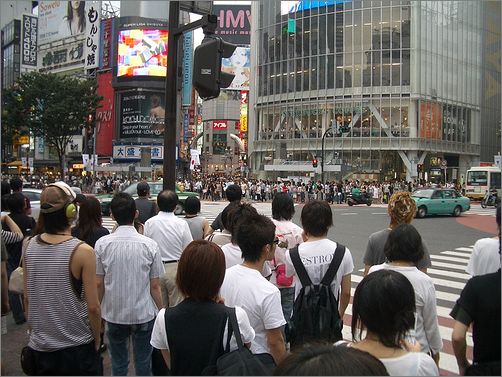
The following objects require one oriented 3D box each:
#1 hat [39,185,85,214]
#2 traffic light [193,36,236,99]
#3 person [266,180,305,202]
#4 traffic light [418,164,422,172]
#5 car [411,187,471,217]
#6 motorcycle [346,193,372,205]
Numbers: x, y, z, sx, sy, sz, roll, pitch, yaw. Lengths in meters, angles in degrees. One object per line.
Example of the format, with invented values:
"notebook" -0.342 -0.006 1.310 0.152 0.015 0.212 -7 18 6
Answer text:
"hat" -1.921 0.101 4.658 0.207 0.196 0.320 8 22 27
"traffic light" -0.559 -1.836 6.896 0.610 0.964 0.664 2 -1 -8
"person" 2.263 0.162 30.092 3.378 1.298 0.948 10 -9 -25
"traffic light" 13.702 -1.637 38.015 0.229 0.550 0.627 1 -2 30
"car" 9.295 0.750 22.955 2.769 1.114 1.246 3 -3 -32
"motorcycle" 7.718 0.831 33.645 1.678 1.194 0.773 -3 6 -16
